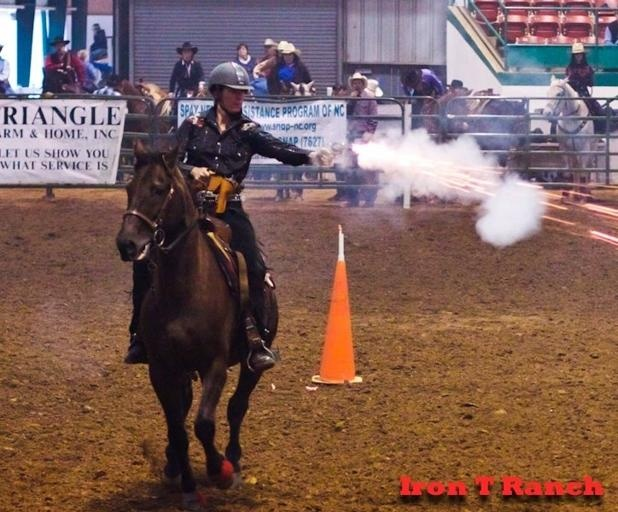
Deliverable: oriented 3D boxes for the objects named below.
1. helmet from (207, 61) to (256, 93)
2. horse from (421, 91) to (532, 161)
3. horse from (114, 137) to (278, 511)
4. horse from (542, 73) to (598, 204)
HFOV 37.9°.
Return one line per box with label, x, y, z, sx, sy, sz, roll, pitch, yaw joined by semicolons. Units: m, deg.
helmet;-0.744;-1.574;7.925;0.247;0.183;0.330;-2;4;-40
horse;3.137;-2.688;17.067;1.859;0.971;1.342;0;-32;1
horse;-1.006;0.542;7.460;0.724;2.924;1.522;7;10;29
horse;5.181;-2.222;17.697;0.612;1.770;2.408;0;-6;34
